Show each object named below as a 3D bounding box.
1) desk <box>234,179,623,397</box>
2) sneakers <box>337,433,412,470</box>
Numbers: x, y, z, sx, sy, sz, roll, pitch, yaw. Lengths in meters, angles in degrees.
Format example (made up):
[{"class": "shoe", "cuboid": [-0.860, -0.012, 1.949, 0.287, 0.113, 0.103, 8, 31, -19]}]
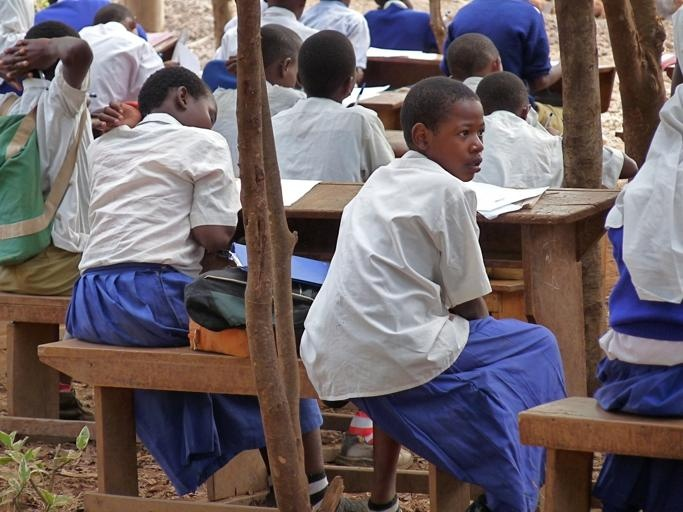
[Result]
[{"class": "desk", "cuboid": [0.573, 0.123, 6.754, 1.653, 1.206, 1.488, 4, 17, 16]}, {"class": "sneakers", "cuboid": [0.185, 1.072, 7.052, 0.457, 0.245, 0.177, -1, -19, 3]}]
